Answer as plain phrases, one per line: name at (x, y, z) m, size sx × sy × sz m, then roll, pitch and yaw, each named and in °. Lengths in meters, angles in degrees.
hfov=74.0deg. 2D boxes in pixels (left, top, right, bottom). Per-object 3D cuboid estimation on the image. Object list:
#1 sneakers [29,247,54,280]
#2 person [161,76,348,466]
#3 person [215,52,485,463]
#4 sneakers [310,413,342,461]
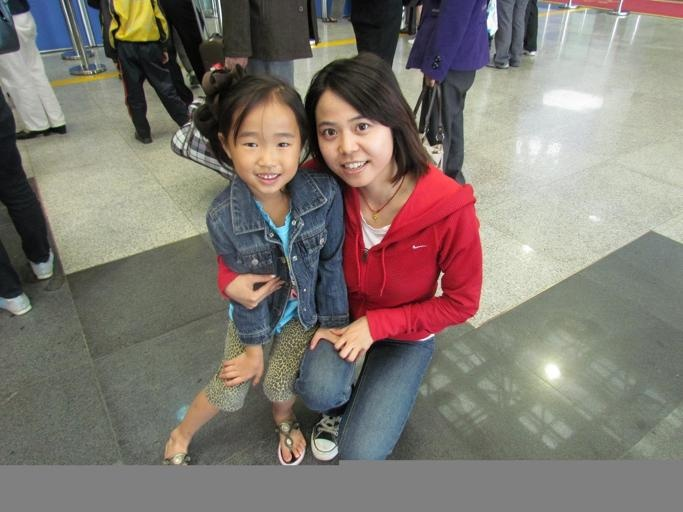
sneakers at (-1.743, 0.024, 2.660) m, size 0.085 × 0.103 × 0.256 m, roll -12°, pitch 35°, yaw -20°
person at (-0.352, 0.152, 1.706) m, size 0.711 × 1.484 × 0.431 m, roll -6°, pitch 27°, yaw -17°
person at (0.023, 0.144, 1.728) m, size 0.843 × 1.573 × 0.814 m, roll -23°, pitch 34°, yaw -33°
sneakers at (-0.054, 0.727, 1.882) m, size 0.115 × 0.114 × 0.294 m, roll 9°, pitch 2°, yaw 8°
